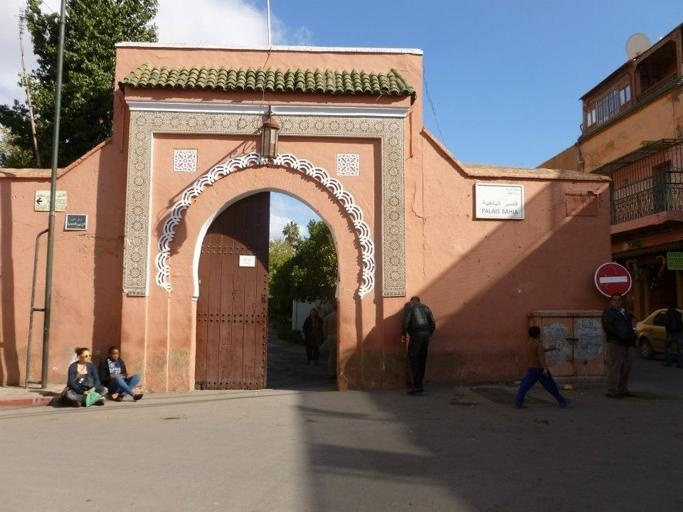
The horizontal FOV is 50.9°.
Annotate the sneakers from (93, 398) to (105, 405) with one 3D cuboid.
[{"bbox_3d":[-4.625,2.797,13.676,0.189,0.121,0.140,4,1,15],"label":"sneakers"}]

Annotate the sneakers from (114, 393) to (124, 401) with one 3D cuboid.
[{"bbox_3d":[-4.349,2.791,14.052,0.187,0.158,0.111,0,-13,-3],"label":"sneakers"}]

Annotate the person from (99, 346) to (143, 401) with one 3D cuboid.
[{"bbox_3d":[-4.353,2.338,14.069,1.026,1.237,0.750,-5,-3,30],"label":"person"}]

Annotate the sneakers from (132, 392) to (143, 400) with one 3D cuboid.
[{"bbox_3d":[-3.965,2.738,13.975,0.192,0.163,0.288,-2,5,-18],"label":"sneakers"}]

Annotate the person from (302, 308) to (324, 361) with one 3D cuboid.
[{"bbox_3d":[-0.827,2.387,21.155,0.578,1.654,0.840,-1,5,-4],"label":"person"}]

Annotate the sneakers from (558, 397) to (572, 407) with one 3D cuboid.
[{"bbox_3d":[3.973,2.603,12.790,0.230,0.162,0.274,1,5,18],"label":"sneakers"}]

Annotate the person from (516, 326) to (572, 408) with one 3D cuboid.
[{"bbox_3d":[3.675,2.012,13.134,0.889,1.488,1.283,1,5,17],"label":"person"}]

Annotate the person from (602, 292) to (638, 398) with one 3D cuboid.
[{"bbox_3d":[5.247,1.687,13.629,0.578,1.905,0.683,2,5,22],"label":"person"}]

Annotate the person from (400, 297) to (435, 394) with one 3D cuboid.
[{"bbox_3d":[1.467,1.762,14.201,0.602,1.800,0.829,2,5,21],"label":"person"}]

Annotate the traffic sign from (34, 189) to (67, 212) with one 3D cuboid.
[{"bbox_3d":[-6.078,-1.143,15.022,0.453,0.375,0.064,0,0,10],"label":"traffic sign"}]

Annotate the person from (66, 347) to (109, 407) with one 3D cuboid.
[{"bbox_3d":[-4.941,2.322,13.790,0.703,1.105,0.755,3,-3,-39],"label":"person"}]

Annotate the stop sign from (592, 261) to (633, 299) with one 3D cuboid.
[{"bbox_3d":[5.675,0.497,15.020,0.289,0.663,0.721,-5,7,-44],"label":"stop sign"}]

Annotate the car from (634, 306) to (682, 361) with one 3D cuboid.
[{"bbox_3d":[9.299,2.390,21.512,1.016,0.958,1.805,2,-12,-13],"label":"car"}]

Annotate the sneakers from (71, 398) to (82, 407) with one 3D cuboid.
[{"bbox_3d":[-4.976,2.771,13.473,0.203,0.157,0.120,0,-5,0],"label":"sneakers"}]

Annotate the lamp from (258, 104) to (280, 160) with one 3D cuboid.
[{"bbox_3d":[-1.489,-2.583,14.929,0.418,1.163,0.621,-1,5,-7],"label":"lamp"}]
